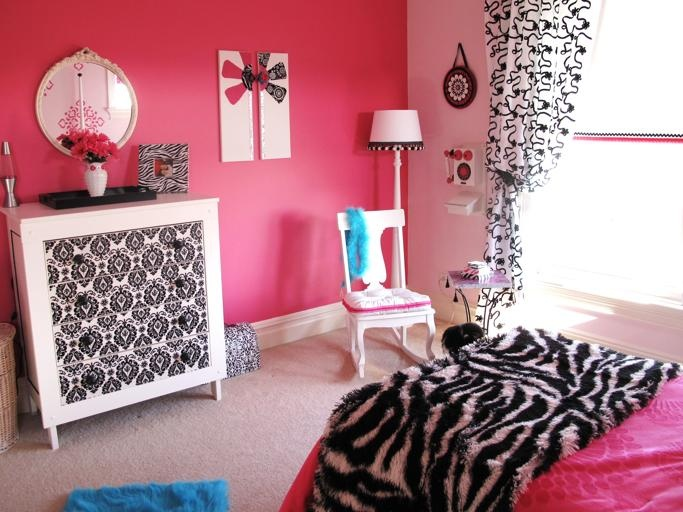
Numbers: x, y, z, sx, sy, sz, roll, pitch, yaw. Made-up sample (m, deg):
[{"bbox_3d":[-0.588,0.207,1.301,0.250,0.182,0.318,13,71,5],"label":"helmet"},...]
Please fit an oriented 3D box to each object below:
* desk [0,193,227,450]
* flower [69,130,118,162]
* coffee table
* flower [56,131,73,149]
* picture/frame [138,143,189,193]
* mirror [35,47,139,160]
[{"bbox_3d":[-1.393,0.371,2.932,1.244,1.534,0.679,-7,10,-39],"label":"desk"},{"bbox_3d":[-1.532,-0.676,3.071,0.255,0.193,0.205,-5,12,-25],"label":"flower"},{"bbox_3d":[0.963,0.318,3.678,0.444,0.477,0.460,-3,10,-15],"label":"coffee table"},{"bbox_3d":[-1.714,-0.721,3.087,0.039,0.099,0.100,-52,6,-37],"label":"flower"},{"bbox_3d":[-1.213,-0.601,3.336,0.356,0.381,0.040,-1,8,-25],"label":"picture/frame"},{"bbox_3d":[-1.634,-0.982,3.127,0.665,0.874,0.060,-8,13,-42],"label":"mirror"}]
